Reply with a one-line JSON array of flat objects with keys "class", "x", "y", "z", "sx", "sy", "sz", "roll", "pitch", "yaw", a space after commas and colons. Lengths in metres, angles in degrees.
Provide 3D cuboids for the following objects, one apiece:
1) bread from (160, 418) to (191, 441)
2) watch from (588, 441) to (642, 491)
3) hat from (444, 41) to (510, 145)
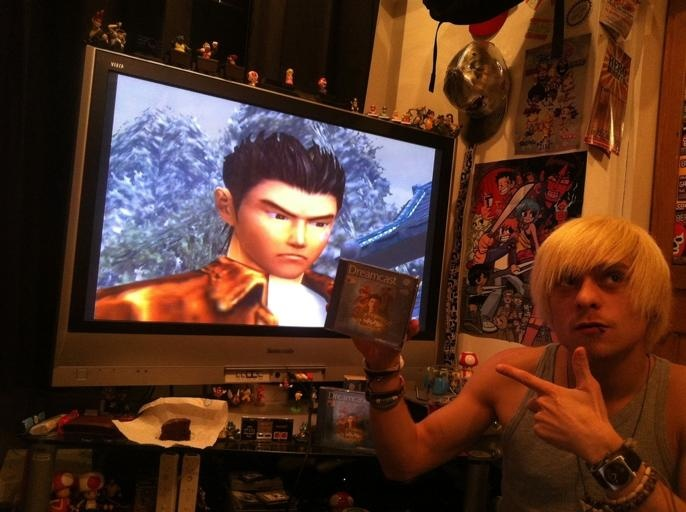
[{"class": "bread", "x": -0.641, "y": 0.663, "z": 2.198, "sx": 0.125, "sy": 0.076, "sz": 0.069, "roll": 3, "pitch": -3, "yaw": -30}, {"class": "watch", "x": 0.701, "y": 0.539, "z": 1.482, "sx": 0.103, "sy": 0.067, "sz": 0.110, "roll": -26, "pitch": -32, "yaw": -31}, {"class": "hat", "x": 0.691, "y": -0.864, "z": 3.056, "sx": 0.351, "sy": 0.540, "sz": 0.337, "roll": 19, "pitch": 28, "yaw": 35}]
